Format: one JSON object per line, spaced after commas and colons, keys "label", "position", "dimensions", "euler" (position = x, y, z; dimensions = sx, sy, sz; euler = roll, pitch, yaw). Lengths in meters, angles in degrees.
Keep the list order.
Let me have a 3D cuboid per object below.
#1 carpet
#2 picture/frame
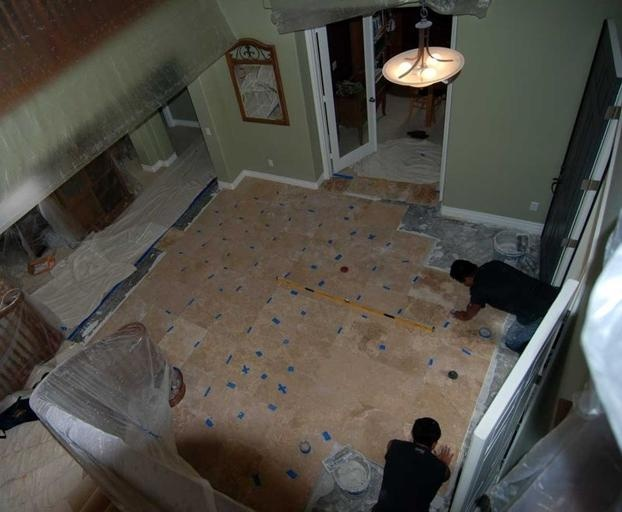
{"label": "carpet", "position": [1.540, -1.580, 7.592], "dimensions": [1.017, 0.051, 1.086], "euler": [18, 48, 30]}
{"label": "picture/frame", "position": [-0.785, -2.467, 6.540], "dimensions": [0.847, 1.289, 0.239], "euler": [11, 41, 21]}
